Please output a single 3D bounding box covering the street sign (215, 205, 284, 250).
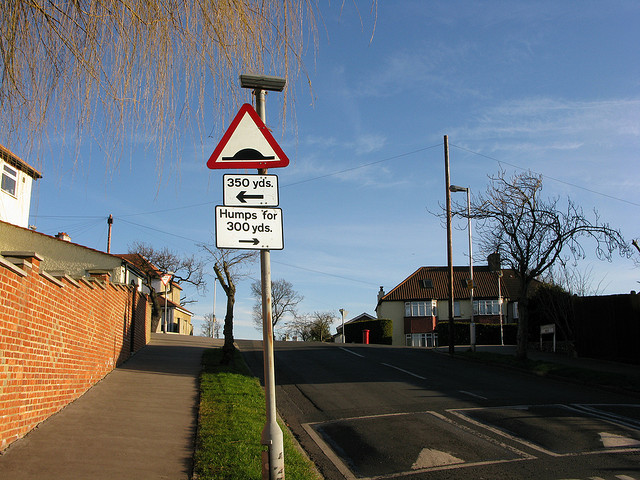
[{"bbox_3d":[-0.809,-0.124,6.152,0.507,0.391,0.022,-1,-6,-10],"label":"street sign"}]
